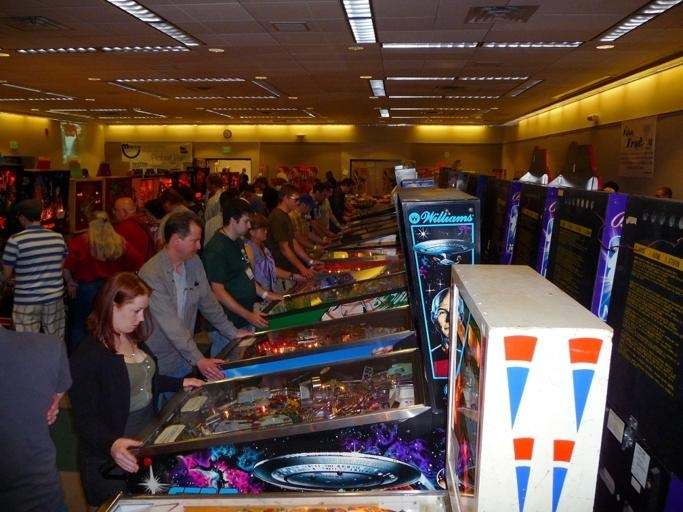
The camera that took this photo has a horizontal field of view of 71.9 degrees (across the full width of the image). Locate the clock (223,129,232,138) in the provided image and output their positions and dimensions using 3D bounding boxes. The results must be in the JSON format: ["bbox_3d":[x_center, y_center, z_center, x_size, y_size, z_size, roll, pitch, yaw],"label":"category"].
[{"bbox_3d":[-4.318,-4.567,17.748,0.309,0.327,0.349,-2,11,-8],"label":"clock"}]
